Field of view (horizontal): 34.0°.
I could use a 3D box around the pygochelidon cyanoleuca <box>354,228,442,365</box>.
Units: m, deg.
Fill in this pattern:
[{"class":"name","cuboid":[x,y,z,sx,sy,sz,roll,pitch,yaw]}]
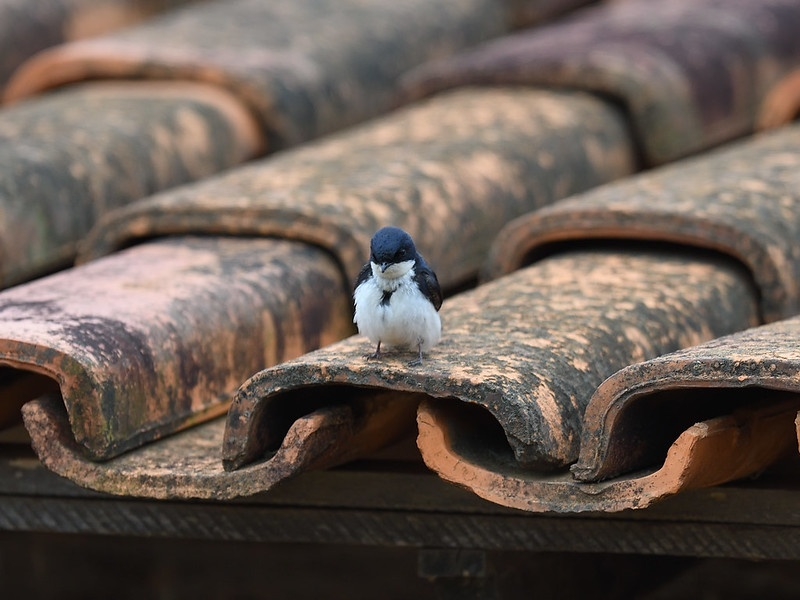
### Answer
[{"class":"pygochelidon cyanoleuca","cuboid":[0.013,-0.002,5.385,0.310,0.581,0.534,4,17,16]}]
